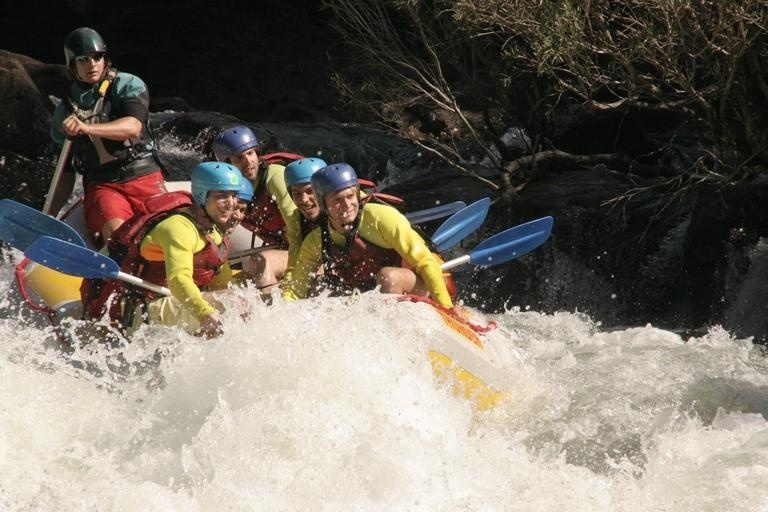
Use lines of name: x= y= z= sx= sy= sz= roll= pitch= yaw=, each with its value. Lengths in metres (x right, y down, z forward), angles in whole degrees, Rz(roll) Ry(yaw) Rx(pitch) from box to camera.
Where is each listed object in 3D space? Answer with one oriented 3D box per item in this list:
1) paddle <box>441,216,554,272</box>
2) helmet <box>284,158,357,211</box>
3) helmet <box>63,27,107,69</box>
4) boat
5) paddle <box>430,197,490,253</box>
paddle: x=1.278 y=-0.122 z=10.823 sx=1.512 sy=0.286 sz=0.197 roll=-23 pitch=10 yaw=-23
helmet: x=-0.582 y=-0.733 z=9.248 sx=0.465 sy=0.296 sz=0.633 roll=-12 pitch=-11 yaw=-26
helmet: x=-2.837 y=-2.020 z=9.427 sx=0.341 sy=0.417 sz=0.420 roll=-27 pitch=32 yaw=-27
boat: x=-0.908 y=0.001 z=9.892 sx=4.787 sy=1.596 sz=2.803 roll=14 pitch=18 yaw=8
paddle: x=0.784 y=-0.303 z=10.283 sx=1.047 sy=0.300 sz=0.152 roll=-34 pitch=21 yaw=-32
